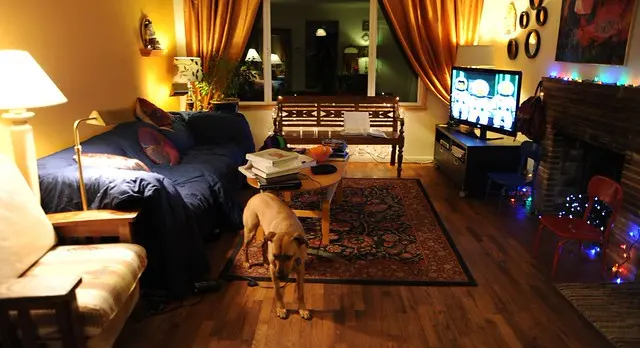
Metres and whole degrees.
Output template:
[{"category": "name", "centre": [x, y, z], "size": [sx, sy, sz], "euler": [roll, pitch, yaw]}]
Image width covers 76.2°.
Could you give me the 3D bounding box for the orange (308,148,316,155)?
[{"category": "orange", "centre": [-0.101, -0.283, 5.044], "size": [0.079, 0.064, 0.064], "euler": [-8, 14, 9]}]

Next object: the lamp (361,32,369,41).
[{"category": "lamp", "centre": [0.767, -2.362, 6.978], "size": [0.122, 0.115, 0.028], "euler": [1, 21, 14]}]

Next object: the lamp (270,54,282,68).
[{"category": "lamp", "centre": [-0.766, -1.976, 7.121], "size": [0.196, 0.154, 0.188], "euler": [-1, 36, -3]}]

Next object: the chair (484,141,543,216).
[{"category": "chair", "centre": [2.622, 0.046, 5.552], "size": [0.738, 1.157, 0.683], "euler": [-3, 19, -3]}]

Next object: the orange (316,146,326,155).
[{"category": "orange", "centre": [0.016, -0.301, 5.027], "size": [0.083, 0.080, 0.097], "euler": [-24, 31, -26]}]

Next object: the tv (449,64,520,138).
[{"category": "tv", "centre": [2.435, -1.082, 5.997], "size": [0.365, 0.742, 1.071], "euler": [-8, 20, -23]}]

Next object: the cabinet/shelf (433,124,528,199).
[{"category": "cabinet/shelf", "centre": [2.328, -0.058, 6.131], "size": [0.951, 0.734, 1.528], "euler": [-1, 24, 1]}]

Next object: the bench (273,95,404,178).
[{"category": "bench", "centre": [0.268, -0.618, 6.158], "size": [1.449, 0.798, 0.463], "euler": [0, 29, 1]}]

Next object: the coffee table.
[{"category": "coffee table", "centre": [-0.236, 0.136, 4.916], "size": [0.967, 0.674, 1.369], "euler": [2, 27, 5]}]

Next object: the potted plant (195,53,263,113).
[{"category": "potted plant", "centre": [-1.577, -1.534, 6.801], "size": [1.046, 0.891, 0.682], "euler": [-4, 18, -12]}]

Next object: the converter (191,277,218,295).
[{"category": "converter", "centre": [-1.195, 1.159, 4.240], "size": [0.197, 0.055, 0.139], "euler": [-1, 15, -13]}]

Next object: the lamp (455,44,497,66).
[{"category": "lamp", "centre": [2.378, -1.804, 6.244], "size": [0.419, 0.409, 0.418], "euler": [3, 18, 12]}]

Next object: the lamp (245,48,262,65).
[{"category": "lamp", "centre": [-1.152, -2.056, 7.112], "size": [0.297, 0.284, 0.270], "euler": [-5, 35, -7]}]

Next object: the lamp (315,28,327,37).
[{"category": "lamp", "centre": [0.008, -2.442, 7.029], "size": [0.180, 0.144, 0.041], "euler": [-3, 18, -8]}]

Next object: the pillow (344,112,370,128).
[{"category": "pillow", "centre": [0.563, -0.842, 6.364], "size": [0.264, 0.174, 0.083], "euler": [-1, -9, -4]}]

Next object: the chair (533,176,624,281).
[{"category": "chair", "centre": [2.965, 0.634, 4.649], "size": [0.816, 1.247, 0.733], "euler": [-4, 19, 1]}]

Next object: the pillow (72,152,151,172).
[{"category": "pillow", "centre": [-2.240, -0.134, 4.379], "size": [0.574, 0.103, 0.304], "euler": [8, 10, -20]}]
